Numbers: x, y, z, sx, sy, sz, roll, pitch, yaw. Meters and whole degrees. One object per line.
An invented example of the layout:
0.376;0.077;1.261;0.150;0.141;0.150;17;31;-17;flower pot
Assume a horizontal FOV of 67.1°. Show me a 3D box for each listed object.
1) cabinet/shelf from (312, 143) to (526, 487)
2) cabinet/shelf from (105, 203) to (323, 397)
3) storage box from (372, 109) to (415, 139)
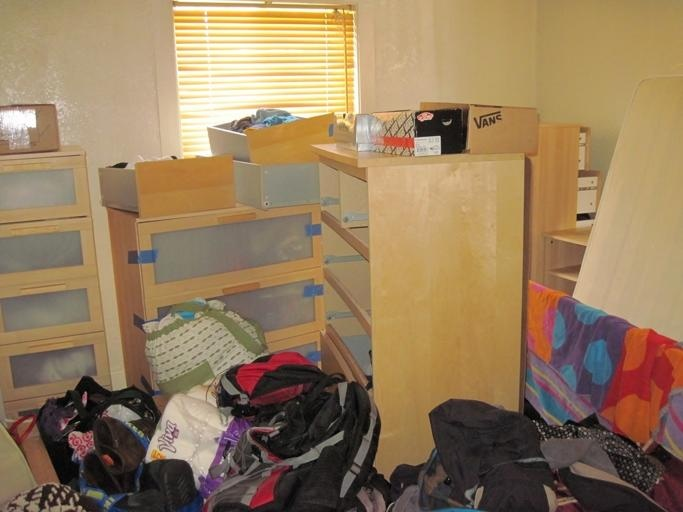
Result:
0.368;0.006;2.242;0.538;1.044;0.751;-15;39;-4;cabinet/shelf
-0.750;0.297;3.032;1.191;1.151;0.693;-9;12;-41;cabinet/shelf
0.188;-0.477;1.870;0.079;0.092;0.271;-4;14;-12;storage box
